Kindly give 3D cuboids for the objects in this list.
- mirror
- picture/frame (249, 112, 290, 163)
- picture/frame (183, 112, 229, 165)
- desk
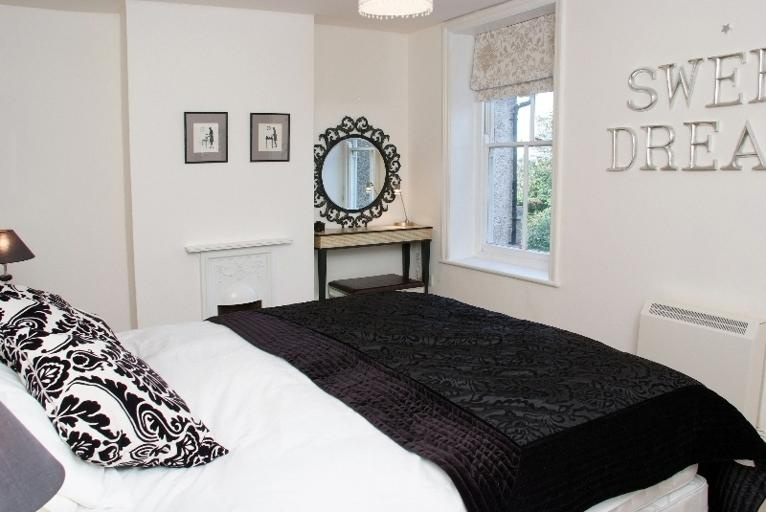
[{"bbox_3d":[-0.325,-0.848,5.514,0.925,1.118,0.043,-3,40,-7],"label":"mirror"},{"bbox_3d":[-1.066,-1.114,4.744,0.465,0.535,0.022,-3,7,-33],"label":"picture/frame"},{"bbox_3d":[-1.581,-1.057,4.522,0.462,0.558,0.020,-4,7,-34],"label":"picture/frame"},{"bbox_3d":[-0.145,0.106,5.538,1.231,0.919,0.406,-5,18,-22],"label":"desk"}]
